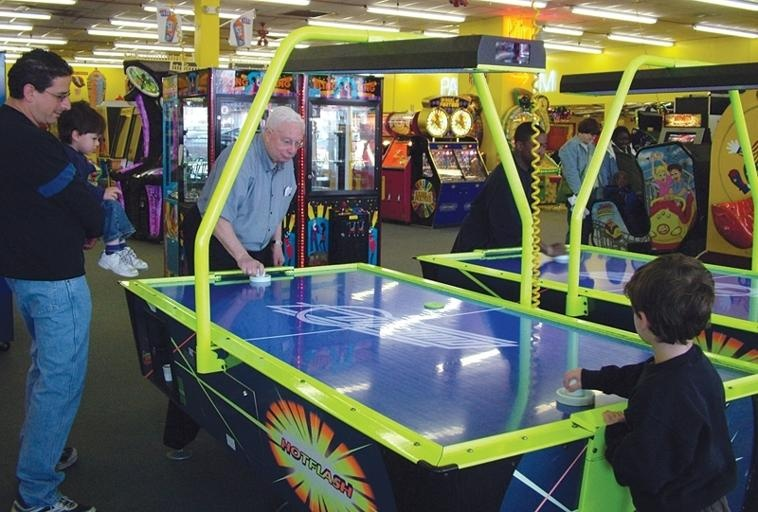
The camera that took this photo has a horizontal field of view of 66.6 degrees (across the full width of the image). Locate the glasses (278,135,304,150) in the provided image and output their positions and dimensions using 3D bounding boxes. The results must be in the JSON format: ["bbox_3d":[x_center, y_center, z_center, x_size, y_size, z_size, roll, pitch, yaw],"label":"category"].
[{"bbox_3d":[-0.489,-0.650,3.333,0.073,0.069,0.167,7,15,25],"label":"glasses"}]

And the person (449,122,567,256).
[{"bbox_3d":[0.951,-0.690,4.743,0.983,1.335,0.825,3,39,12],"label":"person"}]

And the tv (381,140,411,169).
[{"bbox_3d":[0.369,-2.007,11.496,0.428,0.561,0.822,-6,15,-26],"label":"tv"}]

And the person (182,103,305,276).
[{"bbox_3d":[-0.834,-0.381,3.576,0.654,1.040,1.373,-3,14,-17],"label":"person"}]

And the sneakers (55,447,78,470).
[{"bbox_3d":[-1.782,1.158,3.337,0.064,0.070,0.178,2,13,4],"label":"sneakers"}]
